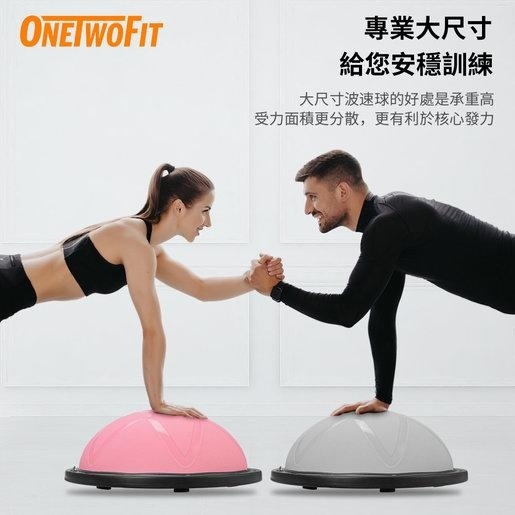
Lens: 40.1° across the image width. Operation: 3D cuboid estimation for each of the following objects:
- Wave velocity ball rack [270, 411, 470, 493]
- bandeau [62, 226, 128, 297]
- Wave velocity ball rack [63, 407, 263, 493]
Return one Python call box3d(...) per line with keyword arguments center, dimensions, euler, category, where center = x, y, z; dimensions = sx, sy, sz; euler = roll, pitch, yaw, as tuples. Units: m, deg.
box3d(center=(0.442, 0.770, 2.760), dimensions=(0.522, 0.183, 0.492), euler=(-2, -8, 16), category="Wave velocity ball rack")
box3d(center=(-0.671, 0.038, 2.959), dimensions=(0.267, 0.199, 0.253), euler=(45, -7, 40), category="bandeau")
box3d(center=(-0.327, 0.740, 2.742), dimensions=(0.762, 0.258, 0.724), euler=(-5, -15, 33), category="Wave velocity ball rack")
